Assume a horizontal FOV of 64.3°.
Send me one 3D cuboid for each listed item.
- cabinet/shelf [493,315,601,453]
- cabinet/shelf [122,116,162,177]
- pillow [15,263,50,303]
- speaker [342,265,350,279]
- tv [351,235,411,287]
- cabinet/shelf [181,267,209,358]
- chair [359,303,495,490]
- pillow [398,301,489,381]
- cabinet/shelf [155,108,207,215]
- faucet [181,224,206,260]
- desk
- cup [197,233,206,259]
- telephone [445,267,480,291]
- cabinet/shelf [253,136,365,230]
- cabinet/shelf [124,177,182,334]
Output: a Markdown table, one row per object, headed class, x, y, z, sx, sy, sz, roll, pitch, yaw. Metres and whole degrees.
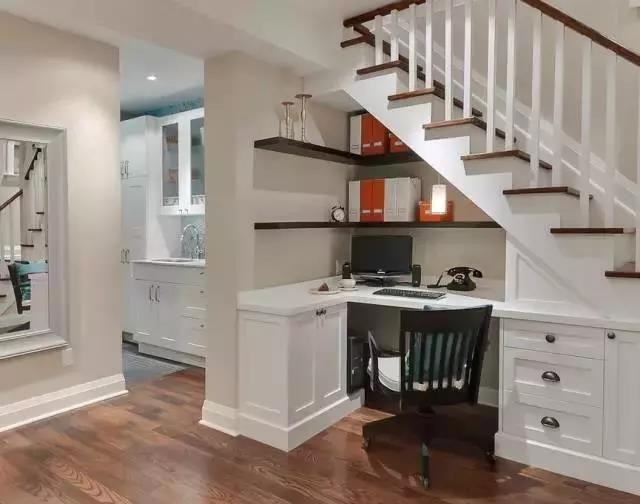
| class | x | y | z | sx | sy | sz | roll | pitch | yaw |
| --- | --- | --- | --- | --- | --- | --- | --- | --- | --- |
| cabinet/shelf | 1.584 | 0.795 | 3.427 | 0.656 | 0.865 | 0.700 | -9 | 10 | -40 |
| cabinet/shelf | -2.119 | -1.078 | 5.866 | 0.665 | 0.641 | 0.250 | -5 | -7 | 24 |
| pillow | -2.168 | 0.229 | 3.822 | 0.110 | 0.298 | 0.260 | -15 | -2 | 23 |
| speaker | 0.227 | 0.163 | 4.347 | 0.059 | 0.112 | 0.081 | 0 | 12 | 3 |
| tv | 0.521 | 0.064 | 4.355 | 0.405 | 0.327 | 0.137 | 0 | -2 | 19 |
| cabinet/shelf | -1.223 | 0.556 | 4.943 | 0.411 | 0.834 | 0.156 | 10 | 16 | 42 |
| chair | 0.720 | 0.786 | 3.398 | 0.820 | 1.085 | 0.835 | 2 | 10 | 5 |
| pillow | 0.688 | 0.523 | 3.211 | 0.423 | 0.605 | 0.493 | 0 | 2 | -5 |
| cabinet/shelf | -1.322 | -0.886 | 5.513 | 0.958 | 0.960 | 0.347 | 12 | 15 | 35 |
| faucet | -1.466 | -0.021 | 5.923 | 0.280 | 0.645 | 0.130 | 9 | 29 | -5 |
| desk | 0.151 | 0.623 | 3.715 | 1.235 | 0.872 | 1.269 | -2 | -2 | 27 |
| cup | -1.342 | -0.069 | 5.770 | 0.121 | 0.277 | 0.057 | 9 | 15 | 39 |
| telephone | 1.137 | 0.211 | 4.039 | 0.308 | 0.240 | 0.161 | -2 | -4 | 35 |
| cabinet/shelf | -0.009 | -0.555 | 4.100 | 0.301 | 0.690 | 1.284 | 10 | 16 | 40 |
| cabinet/shelf | -2.045 | 0.115 | 5.939 | 0.453 | 2.047 | 0.602 | -9 | -13 | 25 |
